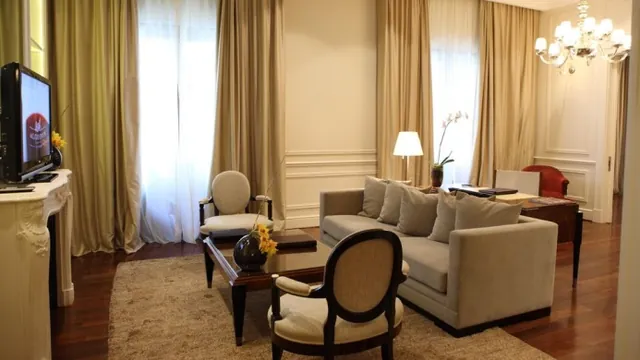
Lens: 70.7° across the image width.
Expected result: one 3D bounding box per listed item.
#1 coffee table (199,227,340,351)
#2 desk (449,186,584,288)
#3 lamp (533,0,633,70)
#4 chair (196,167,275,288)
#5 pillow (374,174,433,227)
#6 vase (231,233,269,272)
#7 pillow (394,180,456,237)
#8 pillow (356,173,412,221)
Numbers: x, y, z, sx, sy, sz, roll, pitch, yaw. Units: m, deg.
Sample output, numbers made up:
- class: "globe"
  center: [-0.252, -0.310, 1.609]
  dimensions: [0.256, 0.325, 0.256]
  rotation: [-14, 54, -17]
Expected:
- class: "coffee table"
  center: [-0.531, 1.053, 5.381]
  dimensions: [1.099, 0.584, 1.508]
  rotation: [-4, 10, -27]
- class: "desk"
  center: [2.443, 0.738, 5.666]
  dimensions: [0.452, 0.688, 1.274]
  rotation: [-5, 8, -19]
- class: "lamp"
  center: [4.754, -2.564, 8.165]
  dimensions: [1.506, 1.280, 2.507]
  rotation: [5, 12, 25]
- class: "chair"
  center: [-1.279, 0.648, 6.638]
  dimensions: [1.105, 1.490, 0.892]
  rotation: [-4, 5, -32]
- class: "pillow"
  center: [1.181, 0.314, 6.576]
  dimensions: [0.655, 0.652, 0.245]
  rotation: [12, -17, 5]
- class: "vase"
  center: [-0.854, 0.788, 5.300]
  dimensions: [0.356, 0.474, 0.365]
  rotation: [18, 9, 42]
- class: "pillow"
  center: [1.445, 0.461, 6.224]
  dimensions: [0.760, 0.670, 0.294]
  rotation: [10, 6, 38]
- class: "pillow"
  center: [0.798, 0.291, 7.126]
  dimensions: [0.365, 0.595, 0.724]
  rotation: [27, 9, 16]
